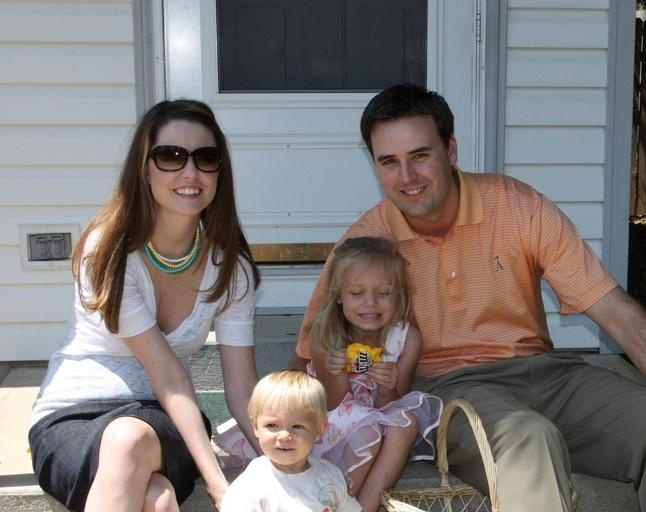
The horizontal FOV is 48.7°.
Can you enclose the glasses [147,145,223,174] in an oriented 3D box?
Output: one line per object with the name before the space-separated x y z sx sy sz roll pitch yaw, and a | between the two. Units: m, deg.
glasses | -0.544 -0.386 2.825 0.284 0.113 0.116 -3 11 -12
